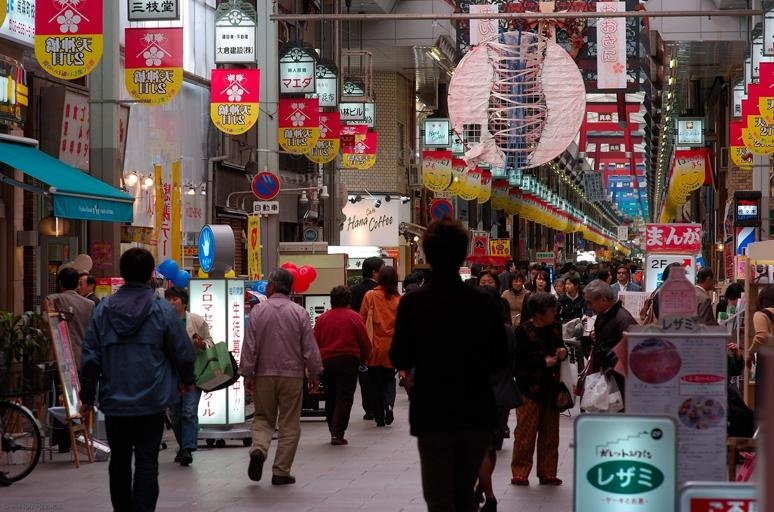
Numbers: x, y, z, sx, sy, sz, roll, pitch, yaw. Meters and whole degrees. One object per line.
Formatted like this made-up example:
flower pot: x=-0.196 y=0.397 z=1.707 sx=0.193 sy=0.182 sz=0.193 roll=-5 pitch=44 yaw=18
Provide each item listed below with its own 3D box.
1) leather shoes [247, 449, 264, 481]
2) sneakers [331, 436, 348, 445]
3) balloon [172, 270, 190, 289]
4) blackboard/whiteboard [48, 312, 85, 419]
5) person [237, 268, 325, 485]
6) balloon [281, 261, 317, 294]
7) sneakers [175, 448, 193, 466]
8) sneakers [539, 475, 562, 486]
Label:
leather shoes: x=-1.492 y=2.381 z=10.336 sx=0.152 sy=0.409 sz=0.167 roll=4 pitch=4 yaw=0
sneakers: x=-0.659 y=2.608 z=12.777 sx=0.267 sy=0.118 sz=0.245 roll=-1 pitch=-1 yaw=-22
balloon: x=-3.503 y=0.406 z=15.303 sx=0.278 sy=0.334 sz=0.286 roll=3 pitch=1 yaw=-6
blackboard/whiteboard: x=-4.070 y=1.410 z=11.422 sx=0.085 sy=1.247 sz=1.017 roll=-16 pitch=-32 yaw=5
person: x=-1.265 y=1.416 z=10.609 sx=0.897 sy=2.482 sz=0.585 roll=0 pitch=-1 yaw=-17
balloon: x=-1.692 y=0.409 z=17.338 sx=0.670 sy=0.735 sz=0.747 roll=-4 pitch=-2 yaw=-44
sneakers: x=-2.591 y=2.570 z=11.538 sx=0.125 sy=0.139 sz=0.314 roll=0 pitch=-2 yaw=-5
sneakers: x=1.885 y=2.607 z=10.477 sx=0.228 sy=0.103 sz=0.108 roll=-3 pitch=-1 yaw=16
